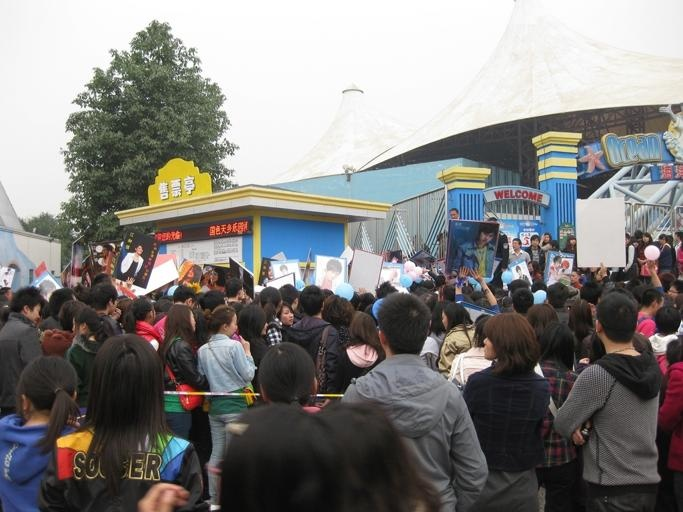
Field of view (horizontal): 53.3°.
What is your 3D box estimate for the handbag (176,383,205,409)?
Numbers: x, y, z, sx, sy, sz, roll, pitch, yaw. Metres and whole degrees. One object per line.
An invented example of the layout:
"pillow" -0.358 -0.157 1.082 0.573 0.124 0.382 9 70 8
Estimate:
"handbag" -1.413 1.286 6.310 0.104 0.223 0.221 -32 -15 25
